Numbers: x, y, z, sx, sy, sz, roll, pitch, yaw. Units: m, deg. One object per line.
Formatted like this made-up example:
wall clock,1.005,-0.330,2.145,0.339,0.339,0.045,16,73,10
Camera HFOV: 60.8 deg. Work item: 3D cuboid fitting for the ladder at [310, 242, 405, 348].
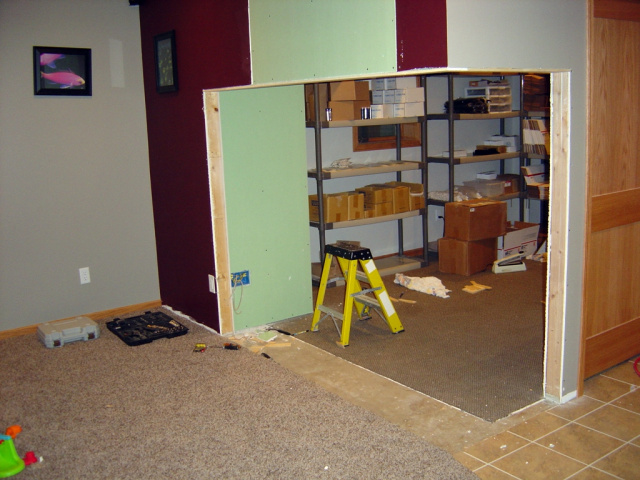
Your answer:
ladder,0.388,0.377,4.941,0.937,0.948,0.752,-9,13,-31

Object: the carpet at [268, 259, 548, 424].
carpet,0.993,0.659,4.776,1.774,0.019,1.890,-18,37,11

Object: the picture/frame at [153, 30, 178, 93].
picture/frame,-1.349,-1.568,4.729,0.069,0.588,0.536,-7,16,-36
